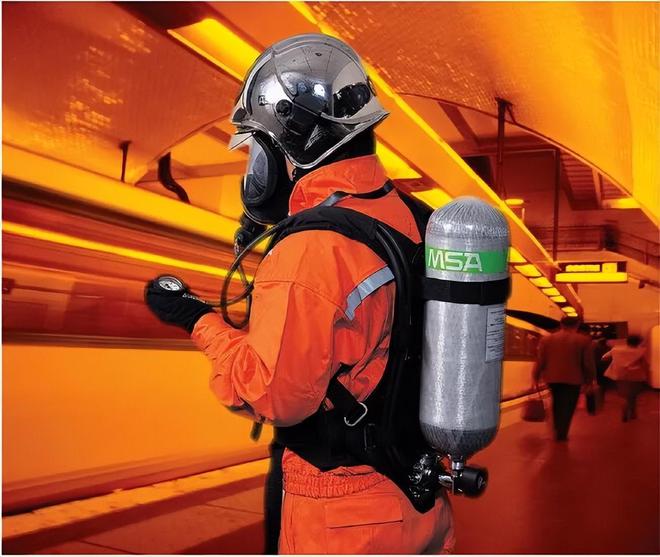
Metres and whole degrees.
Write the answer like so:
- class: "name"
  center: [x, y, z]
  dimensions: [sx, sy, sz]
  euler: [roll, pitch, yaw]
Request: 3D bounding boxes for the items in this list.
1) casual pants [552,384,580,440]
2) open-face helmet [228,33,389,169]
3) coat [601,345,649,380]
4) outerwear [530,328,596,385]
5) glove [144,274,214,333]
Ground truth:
- class: "casual pants"
  center: [1.391, 0.783, 3.272]
  dimensions: [0.157, 0.332, 0.057]
  euler: [1, -5, 19]
- class: "open-face helmet"
  center: [-0.061, -0.589, 1.937]
  dimensions: [0.510, 0.368, 0.426]
  euler: [10, 15, 18]
- class: "coat"
  center: [1.737, 0.490, 3.257]
  dimensions: [0.253, 0.187, 0.131]
  euler: [3, 8, 4]
- class: "outerwear"
  center: [1.425, 0.484, 3.372]
  dimensions: [0.341, 0.305, 0.167]
  euler: [-1, -13, 26]
- class: "glove"
  center: [-0.505, 0.079, 1.821]
  dimensions: [0.229, 0.086, 0.163]
  euler: [27, 12, -8]
